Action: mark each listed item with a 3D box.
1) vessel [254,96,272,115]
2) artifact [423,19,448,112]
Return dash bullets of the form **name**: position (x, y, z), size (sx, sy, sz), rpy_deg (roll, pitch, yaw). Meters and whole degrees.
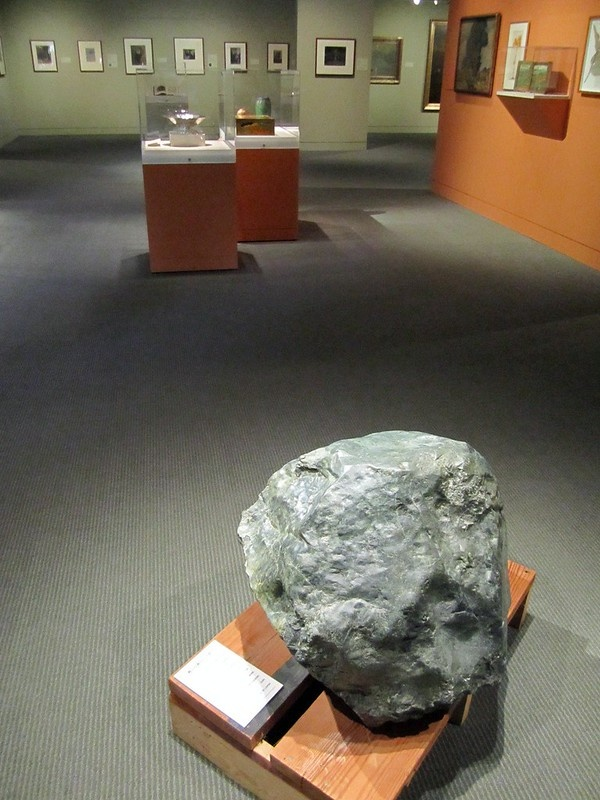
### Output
- **vessel**: position (-0.470, -3.753, 6.991), size (0.188, 0.255, 0.190), rpy_deg (1, 33, 7)
- **artifact**: position (4.052, -10.115, 16.657), size (0.558, 2.389, 0.636), rpy_deg (2, 30, 0)
